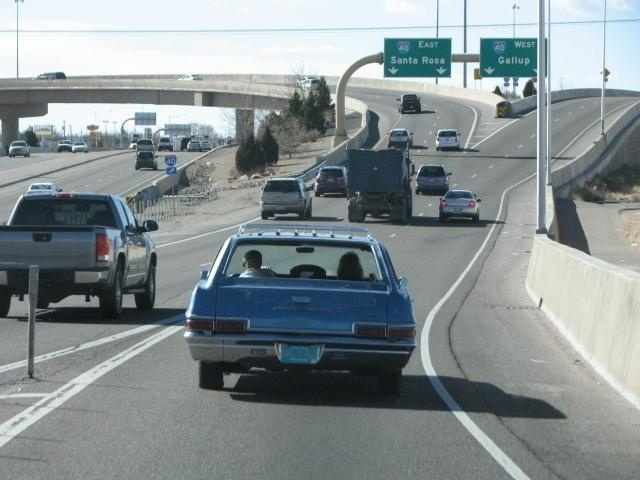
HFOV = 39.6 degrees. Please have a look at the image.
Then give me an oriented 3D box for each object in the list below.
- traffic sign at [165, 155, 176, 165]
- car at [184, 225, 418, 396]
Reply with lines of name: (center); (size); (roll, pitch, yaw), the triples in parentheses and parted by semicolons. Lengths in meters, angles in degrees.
traffic sign: (-7.805, -4.186, 46.762); (0.512, 0.497, 1.228); (0, 5, -13)
car: (-0.293, 0.624, 14.678); (2.734, 2.134, 7.791); (1, 5, -1)
